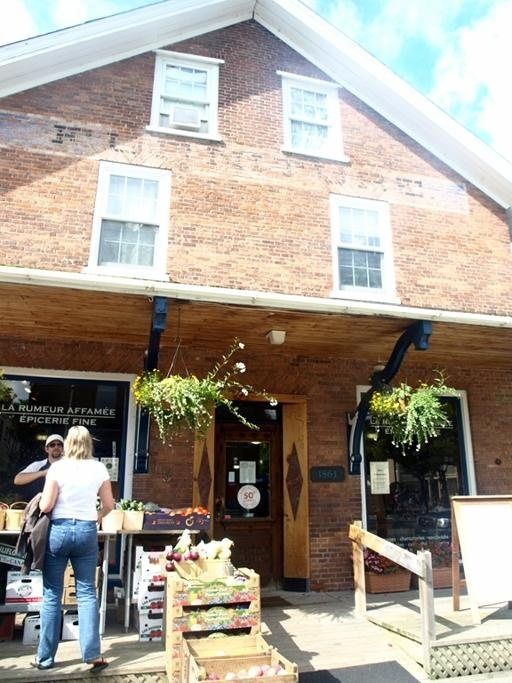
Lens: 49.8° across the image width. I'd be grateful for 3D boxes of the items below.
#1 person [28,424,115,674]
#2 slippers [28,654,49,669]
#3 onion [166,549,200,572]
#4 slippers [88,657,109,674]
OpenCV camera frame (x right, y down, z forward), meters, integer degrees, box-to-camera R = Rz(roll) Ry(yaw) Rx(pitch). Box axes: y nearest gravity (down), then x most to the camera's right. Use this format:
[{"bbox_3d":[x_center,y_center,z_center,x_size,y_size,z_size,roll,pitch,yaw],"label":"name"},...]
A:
[{"bbox_3d":[-1.333,1.506,4.104,0.599,1.726,0.354,8,-14,-21],"label":"person"},{"bbox_3d":[-1.560,2.328,3.985,0.209,0.070,0.083,-5,-15,32],"label":"slippers"},{"bbox_3d":[-0.614,1.764,4.422,0.320,0.185,0.119,-6,-15,34],"label":"onion"},{"bbox_3d":[-1.118,2.302,3.916,0.168,0.057,0.056,8,-37,-22],"label":"slippers"}]
